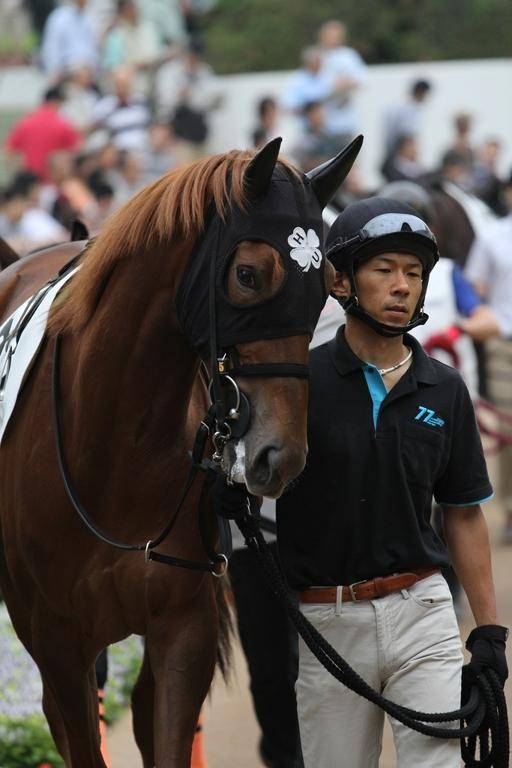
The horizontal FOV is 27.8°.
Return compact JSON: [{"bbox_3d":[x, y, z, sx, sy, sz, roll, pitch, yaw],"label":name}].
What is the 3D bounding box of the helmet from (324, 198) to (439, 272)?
[{"bbox_3d":[0.243,-0.322,2.172,0.227,0.117,0.276,0,-8,-28],"label":"helmet"}]
